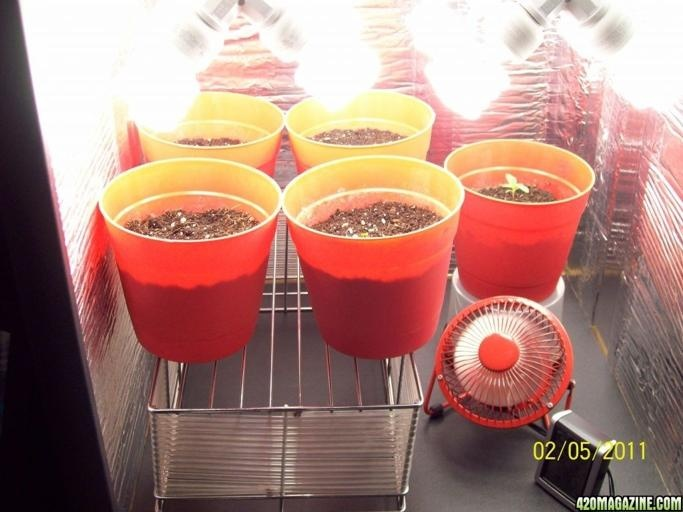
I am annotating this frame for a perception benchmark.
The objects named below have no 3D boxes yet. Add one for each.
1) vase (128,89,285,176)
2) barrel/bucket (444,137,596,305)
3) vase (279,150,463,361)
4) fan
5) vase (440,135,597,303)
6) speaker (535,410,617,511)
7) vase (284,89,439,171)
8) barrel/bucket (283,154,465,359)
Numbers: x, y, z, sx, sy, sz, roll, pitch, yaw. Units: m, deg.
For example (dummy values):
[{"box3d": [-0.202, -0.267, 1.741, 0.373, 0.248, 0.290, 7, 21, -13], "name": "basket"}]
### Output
[{"box3d": [-0.251, -0.304, 1.072, 0.239, 0.166, 0.254, -21, 48, -32], "name": "vase"}, {"box3d": [0.356, -0.087, 1.255, 0.373, 0.329, 0.364, 0, 43, 0], "name": "barrel/bucket"}, {"box3d": [0.035, 0.038, 0.998, 0.356, 0.295, 0.359, 5, 41, 9], "name": "vase"}, {"box3d": [0.343, 0.235, 1.095, 0.290, 0.335, 0.278, 6, 14, 20], "name": "fan"}, {"box3d": [0.382, -0.065, 1.276, 0.375, 0.323, 0.362, 14, 44, 17], "name": "vase"}, {"box3d": [0.436, 0.395, 0.954, 0.051, 0.149, 0.128, -27, 42, -27], "name": "speaker"}, {"box3d": [0.053, -0.299, 1.149, 0.251, 0.133, 0.263, 6, 36, 13], "name": "vase"}, {"box3d": [0.045, 0.037, 0.995, 0.356, 0.295, 0.359, -1, 41, 1], "name": "barrel/bucket"}]
